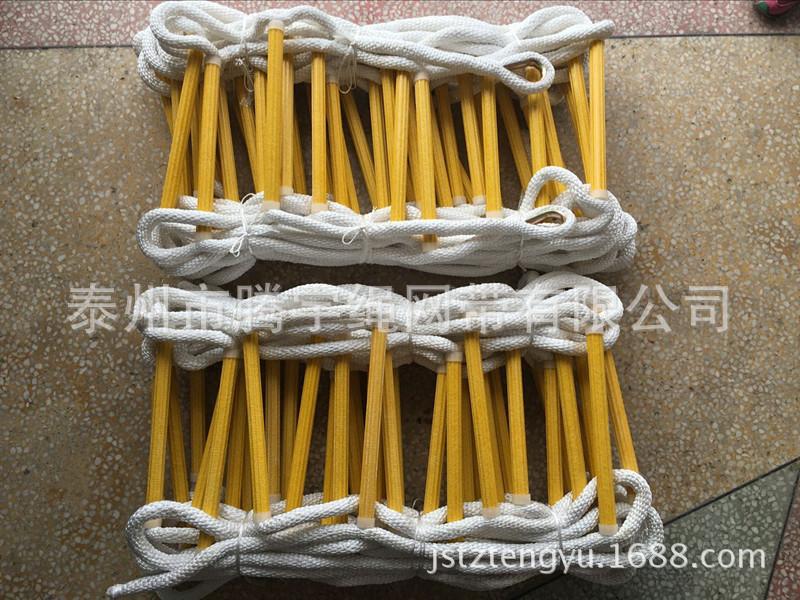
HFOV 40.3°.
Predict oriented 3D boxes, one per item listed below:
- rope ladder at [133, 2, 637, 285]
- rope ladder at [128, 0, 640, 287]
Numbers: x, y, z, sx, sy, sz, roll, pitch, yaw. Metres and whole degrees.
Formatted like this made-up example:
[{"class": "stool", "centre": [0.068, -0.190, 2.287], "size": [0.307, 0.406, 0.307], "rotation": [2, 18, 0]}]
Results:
[{"class": "rope ladder", "centre": [-0.031, -0.320, 2.252], "size": [0.979, 0.276, 0.527], "rotation": [2, 84, -2]}, {"class": "rope ladder", "centre": [-0.061, -0.331, 2.217], "size": [0.968, 0.270, 0.537], "rotation": [2, 83, -1]}]
